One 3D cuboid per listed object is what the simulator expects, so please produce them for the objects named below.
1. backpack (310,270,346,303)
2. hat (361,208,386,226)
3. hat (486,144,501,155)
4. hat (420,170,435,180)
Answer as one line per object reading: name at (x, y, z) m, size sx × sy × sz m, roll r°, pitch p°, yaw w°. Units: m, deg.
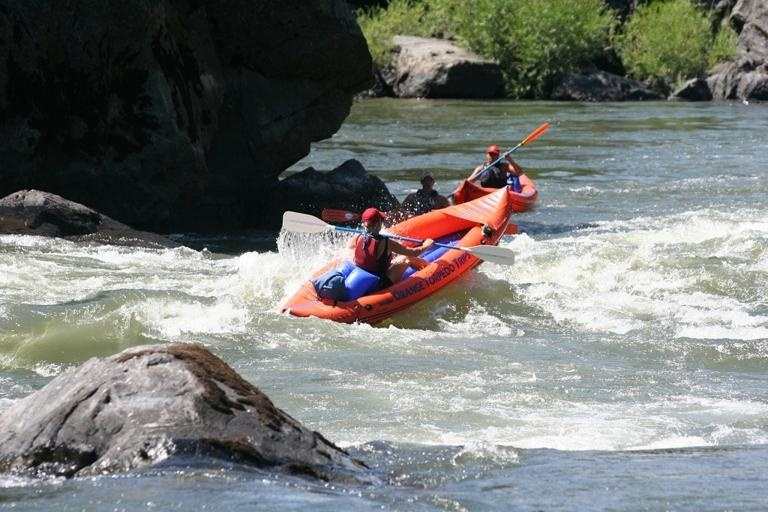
backpack at (-0.866, 0.461, 20.504) m, size 0.507 × 0.444 × 0.274 m, roll -1°, pitch 12°, yaw -8°
hat at (-0.182, -0.647, 20.624) m, size 0.250 × 0.160 × 0.346 m, roll 11°, pitch 29°, yaw 35°
hat at (2.153, -2.127, 25.881) m, size 0.361 × 0.194 × 0.435 m, roll 3°, pitch -10°, yaw 6°
hat at (0.772, -1.466, 23.934) m, size 0.186 × 0.163 × 0.249 m, roll 2°, pitch 10°, yaw 5°
